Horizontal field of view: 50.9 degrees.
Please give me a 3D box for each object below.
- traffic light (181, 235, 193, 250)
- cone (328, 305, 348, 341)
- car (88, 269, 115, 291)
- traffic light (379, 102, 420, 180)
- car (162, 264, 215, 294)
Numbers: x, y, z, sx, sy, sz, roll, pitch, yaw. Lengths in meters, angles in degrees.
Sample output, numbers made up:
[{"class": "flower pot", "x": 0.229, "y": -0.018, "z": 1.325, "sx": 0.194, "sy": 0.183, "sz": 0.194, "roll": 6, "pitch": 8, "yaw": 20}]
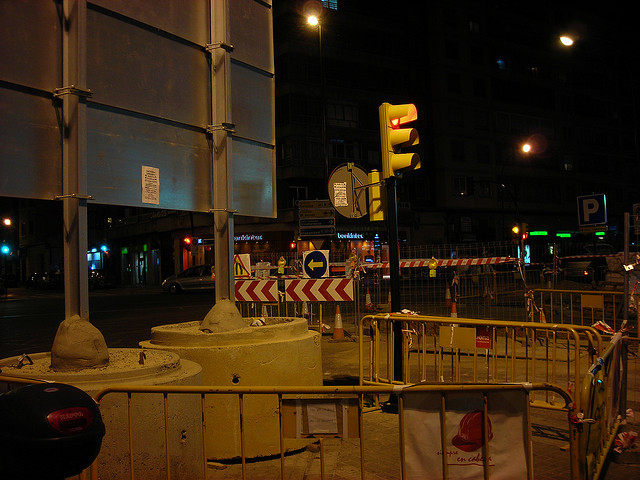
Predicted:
[{"class": "traffic light", "x": -8.970, "y": 0.128, "z": 45.464, "sx": 0.706, "sy": 0.801, "sz": 1.372, "roll": 1, "pitch": -27, "yaw": -11}, {"class": "cone", "x": 0.428, "y": 1.862, "z": 15.306, "sx": 0.410, "sy": 0.784, "sz": 0.855, "roll": 0, "pitch": -4, "yaw": 2}, {"class": "car", "x": -14.326, "y": 2.572, "z": 44.090, "sx": 1.389, "sy": 1.407, "sz": 5.079, "roll": 1, "pitch": -4, "yaw": -14}, {"class": "traffic light", "x": 1.116, "y": -1.387, "z": 9.333, "sx": 0.530, "sy": 1.100, "sz": 0.490, "roll": -1, "pitch": -3, "yaw": 8}, {"class": "car", "x": -6.522, "y": 1.967, "z": 33.896, "sx": 2.487, "sy": 1.423, "sz": 0.865, "roll": -1, "pitch": -3, "yaw": 5}]
